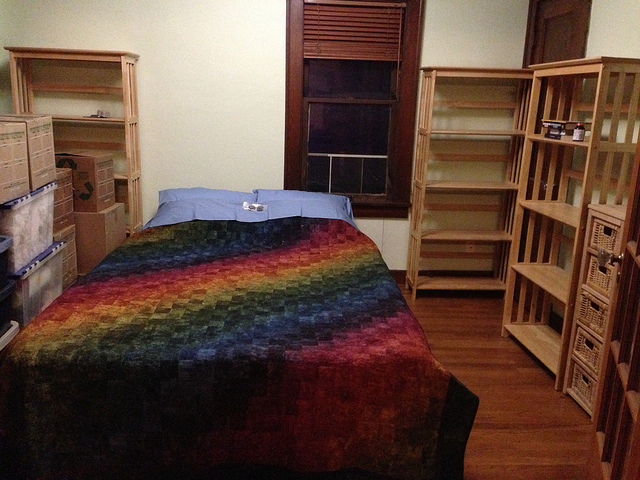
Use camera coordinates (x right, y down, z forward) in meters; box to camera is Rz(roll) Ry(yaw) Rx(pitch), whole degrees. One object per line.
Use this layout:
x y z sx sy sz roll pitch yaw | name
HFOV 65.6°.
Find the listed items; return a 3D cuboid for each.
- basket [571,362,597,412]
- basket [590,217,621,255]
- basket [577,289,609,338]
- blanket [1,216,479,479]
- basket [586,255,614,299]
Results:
1.644 0.910 3.143 0.159 0.205 0.275 14 -19 24 | basket
1.623 -0.022 2.799 0.179 0.171 0.178 3 16 4 | basket
1.603 0.425 2.926 0.068 0.196 0.141 3 13 -10 | basket
-0.529 0.620 2.964 2.145 0.768 1.794 -4 16 -11 | blanket
1.633 0.218 2.878 0.076 0.222 0.165 2 7 -2 | basket
